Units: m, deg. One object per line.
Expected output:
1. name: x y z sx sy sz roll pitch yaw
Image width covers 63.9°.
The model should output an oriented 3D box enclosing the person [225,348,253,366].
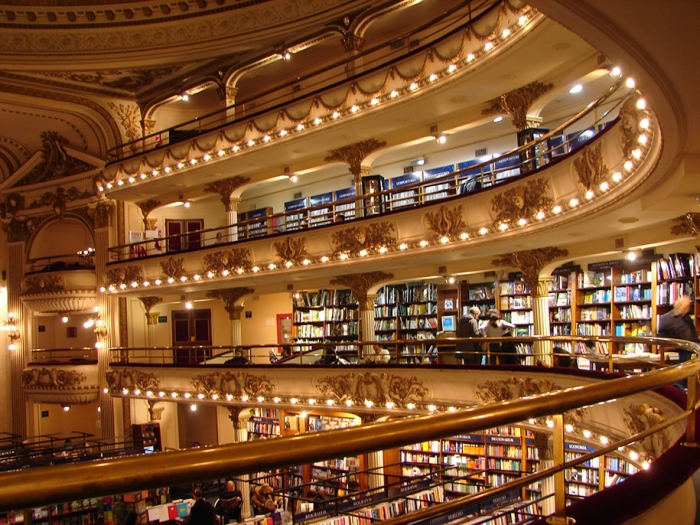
1. person: -3.339 2.861 17.015 0.825 0.521 0.841 -2 -1 31
